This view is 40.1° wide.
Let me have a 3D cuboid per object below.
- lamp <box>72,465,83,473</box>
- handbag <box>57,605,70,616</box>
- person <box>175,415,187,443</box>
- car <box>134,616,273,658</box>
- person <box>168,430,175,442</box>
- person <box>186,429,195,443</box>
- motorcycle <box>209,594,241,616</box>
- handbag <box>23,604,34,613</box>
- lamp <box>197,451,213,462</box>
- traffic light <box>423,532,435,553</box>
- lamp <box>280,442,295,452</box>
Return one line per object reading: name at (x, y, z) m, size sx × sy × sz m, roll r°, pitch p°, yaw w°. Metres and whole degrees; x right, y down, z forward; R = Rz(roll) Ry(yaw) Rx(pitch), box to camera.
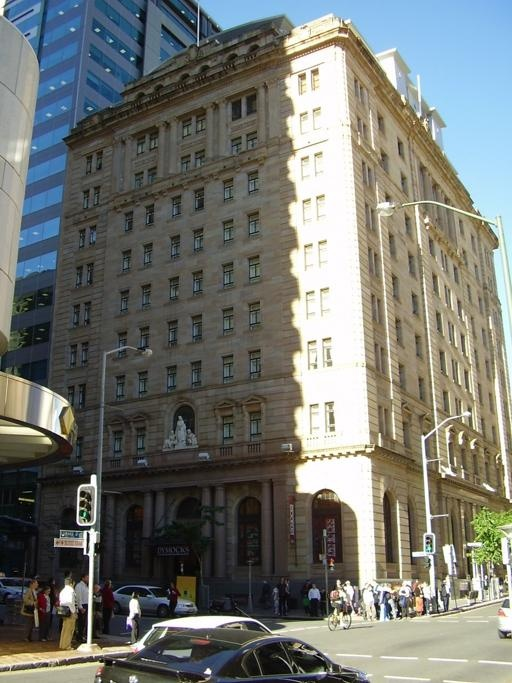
lamp at (-13.346, 9.622, 52.776) m, size 1.211 × 0.698 × 0.492 m, roll -16°, pitch -24°, yaw 40°
handbag at (-5.133, 7.164, 18.602) m, size 0.343 × 0.227 × 0.239 m, roll -10°, pitch -28°, yaw 16°
person at (-5.243, 6.249, 48.996) m, size 0.416 × 2.296 × 0.940 m, roll 15°, pitch -25°, yaw -37°
car at (-0.539, 4.041, 9.999) m, size 2.228 × 0.661 × 0.997 m, roll 13°, pitch -29°, yaw -32°
person at (-5.908, 6.606, 49.314) m, size 0.517 × 0.863 × 0.245 m, roll -14°, pitch -24°, yaw 34°
person at (-4.473, 6.569, 48.377) m, size 0.855 × 1.150 × 0.233 m, roll -18°, pitch -26°, yaw 40°
motorcycle at (-1.629, 13.168, 35.009) m, size 1.238 × 0.689 × 2.964 m, roll 1°, pitch -18°, yaw -7°
handbag at (-6.573, 7.707, 20.215) m, size 0.252 × 0.221 × 0.075 m, roll 1°, pitch -12°, yaw -6°
lamp at (-3.406, 7.556, 46.224) m, size 0.805 × 0.687 × 0.808 m, roll 1°, pitch -18°, yaw -7°
traffic light at (8.851, 10.385, 35.925) m, size 0.578 × 1.095 × 0.608 m, roll -4°, pitch -19°, yaw 9°
lamp at (1.902, 6.439, 43.121) m, size 0.863 × 0.535 × 0.452 m, roll -9°, pitch -57°, yaw 9°
